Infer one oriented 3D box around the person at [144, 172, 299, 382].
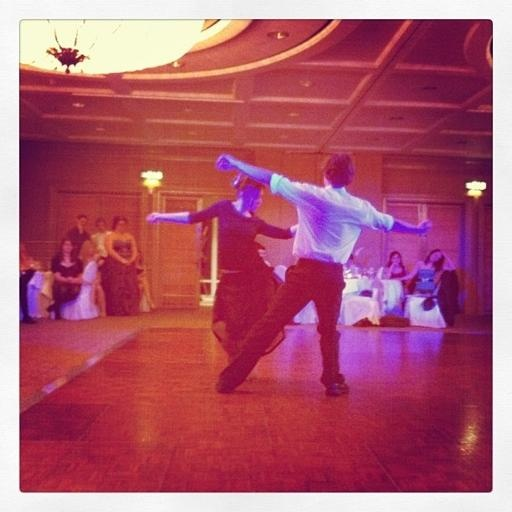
[{"bbox_3d":[-0.234,0.129,3.029,1.108,1.637,0.438,2,-11,-13],"label":"person"}]
